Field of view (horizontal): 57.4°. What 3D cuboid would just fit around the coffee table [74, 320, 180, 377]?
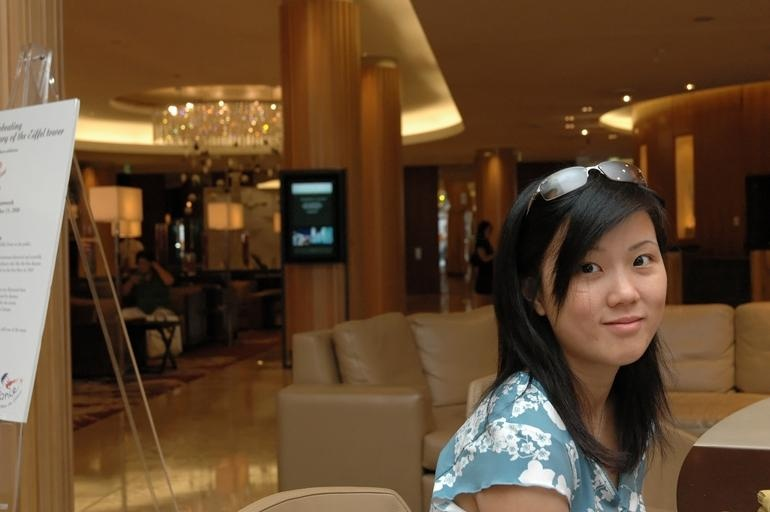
[{"bbox_3d":[-2.837,1.038,7.647,0.932,0.501,0.516,0,5,9],"label":"coffee table"}]

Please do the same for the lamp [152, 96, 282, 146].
[{"bbox_3d":[-2.538,-2.179,10.818,1.117,0.282,1.130,7,-21,-23],"label":"lamp"}]
